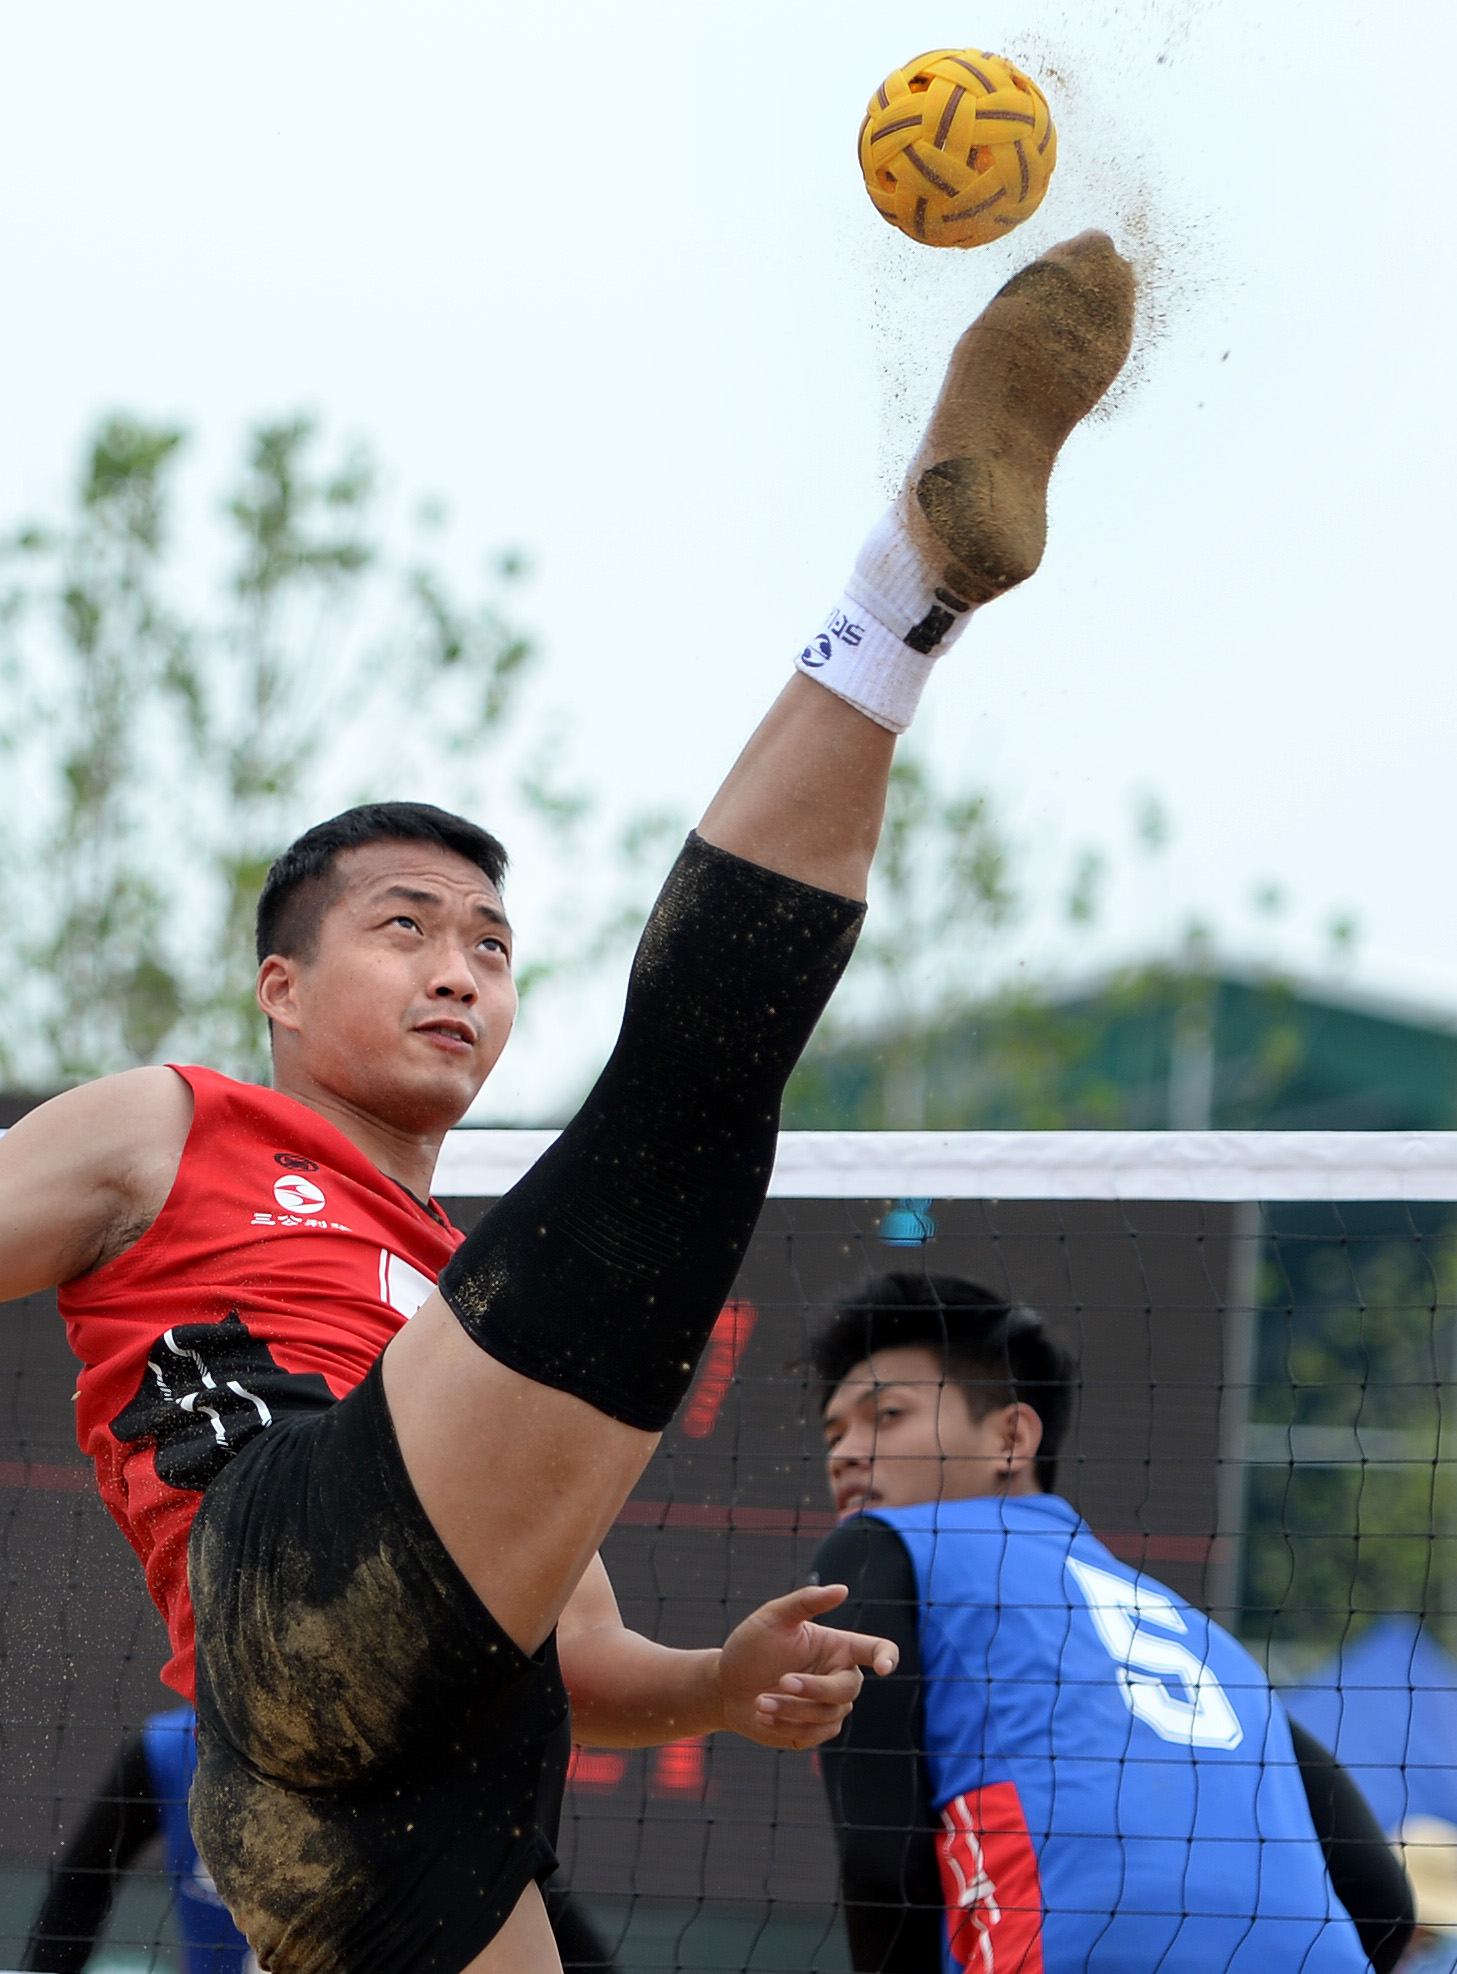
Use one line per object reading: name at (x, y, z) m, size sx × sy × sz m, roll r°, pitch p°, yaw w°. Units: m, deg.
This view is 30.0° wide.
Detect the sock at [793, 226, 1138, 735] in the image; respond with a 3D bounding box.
sock at (0.201, -0.427, 2.300) m, size 0.199 × 0.362 × 0.361 m, roll 14°, pitch 31°, yaw 4°

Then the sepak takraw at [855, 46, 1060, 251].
sepak takraw at (0.226, -0.843, 2.776) m, size 0.239 × 0.214 × 0.228 m, roll -1°, pitch 24°, yaw 12°
